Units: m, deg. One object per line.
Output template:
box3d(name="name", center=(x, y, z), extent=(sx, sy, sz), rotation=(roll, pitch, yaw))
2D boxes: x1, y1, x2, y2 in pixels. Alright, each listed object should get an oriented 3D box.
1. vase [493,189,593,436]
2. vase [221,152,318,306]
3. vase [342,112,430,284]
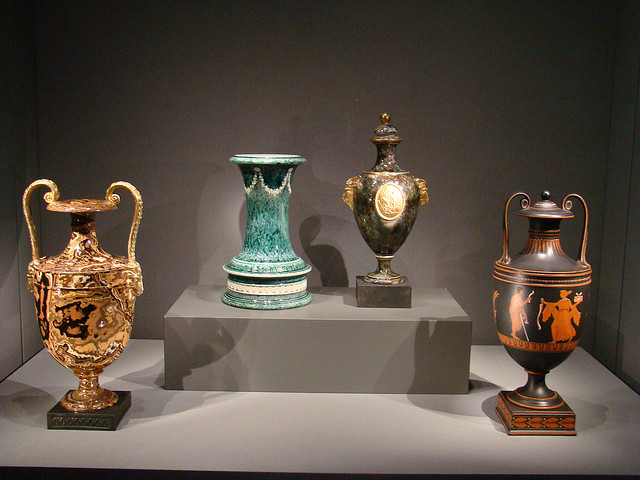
box3d(name="vase", center=(1.150, 0.384, 3.402), extent=(0.469, 1.242, 0.400), rotation=(2, 14, 13))
box3d(name="vase", center=(-0.325, -0.045, 3.817), extent=(0.524, 0.885, 0.239), rotation=(-4, 14, -11))
box3d(name="vase", center=(0.389, -0.239, 3.860), extent=(0.450, 0.999, 0.277), rotation=(-7, 14, -22))
